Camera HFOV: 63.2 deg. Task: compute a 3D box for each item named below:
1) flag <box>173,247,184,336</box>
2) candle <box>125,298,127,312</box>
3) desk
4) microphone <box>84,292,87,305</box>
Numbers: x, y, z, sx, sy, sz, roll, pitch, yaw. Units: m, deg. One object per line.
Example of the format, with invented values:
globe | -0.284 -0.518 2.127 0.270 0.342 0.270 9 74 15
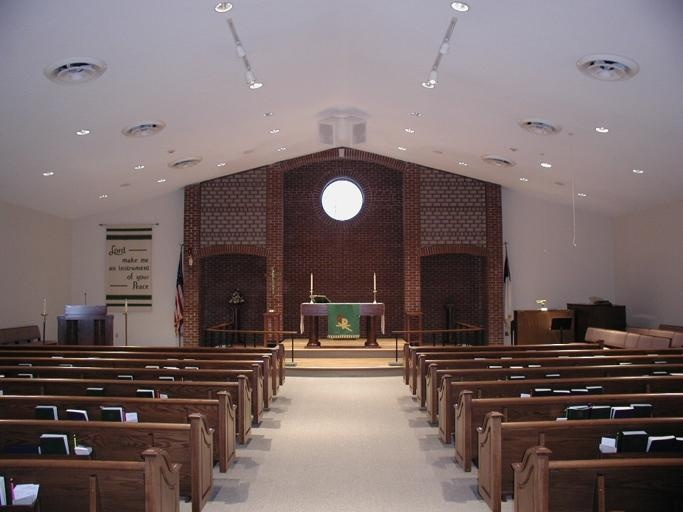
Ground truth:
flag | -4.973 1.058 16.988 0.287 2.814 0.363 0 -5 -16
candle | -6.529 1.457 16.823 0.068 0.401 0.204 2 -7 -38
desk | -0.027 1.949 16.039 2.199 1.259 2.534 -1 -5 -4
microphone | -7.726 1.241 16.756 0.094 0.342 0.083 -1 -5 -5
